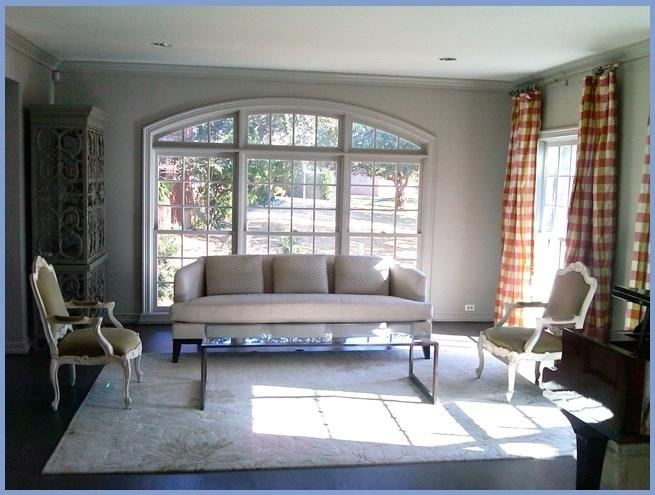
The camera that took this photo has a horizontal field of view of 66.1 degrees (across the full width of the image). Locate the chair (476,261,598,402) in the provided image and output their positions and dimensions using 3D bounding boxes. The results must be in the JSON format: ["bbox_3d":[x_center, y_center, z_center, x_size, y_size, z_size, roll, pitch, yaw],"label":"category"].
[{"bbox_3d":[1.968,0.737,4.766,0.897,1.198,0.788,-1,8,-6],"label":"chair"}]

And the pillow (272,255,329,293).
[{"bbox_3d":[-0.341,0.325,5.884,0.447,0.300,0.162,-2,-37,-6],"label":"pillow"}]

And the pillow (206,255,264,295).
[{"bbox_3d":[-1.096,0.323,5.865,0.685,0.455,0.249,-2,7,-14],"label":"pillow"}]

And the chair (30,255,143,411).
[{"bbox_3d":[-2.098,0.720,4.432,0.886,1.187,0.727,3,6,-17],"label":"chair"}]

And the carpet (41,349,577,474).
[{"bbox_3d":[-0.174,1.347,4.303,3.892,0.033,1.796,1,9,-6],"label":"carpet"}]

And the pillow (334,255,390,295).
[{"bbox_3d":[0.400,0.348,5.956,0.465,0.304,0.163,2,0,-4],"label":"pillow"}]
